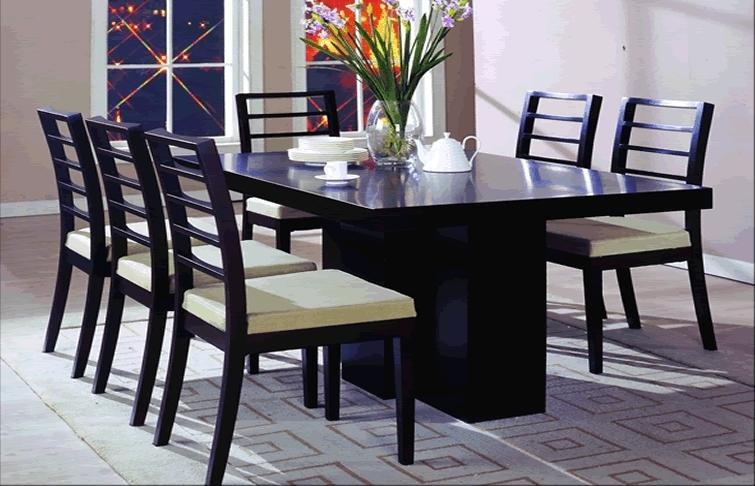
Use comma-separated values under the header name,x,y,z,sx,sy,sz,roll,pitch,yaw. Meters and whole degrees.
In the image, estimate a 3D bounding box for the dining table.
name,x,y,z,sx,sy,sz,roll,pitch,yaw
dining table,0.345,0.097,2.620,1.248,0.669,1.720,-7,12,-29

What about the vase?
name,x,y,z,sx,sy,sz,roll,pitch,yaw
vase,0.028,-0.471,2.836,0.300,0.286,0.277,0,6,-6

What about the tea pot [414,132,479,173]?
name,x,y,z,sx,sy,sz,roll,pitch,yaw
tea pot,0.343,-0.371,2.835,0.341,0.143,0.211,0,9,-8

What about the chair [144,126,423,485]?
name,x,y,z,sx,sy,sz,roll,pitch,yaw
chair,-0.228,0.075,2.793,1.334,1.509,0.999,-6,14,-25
